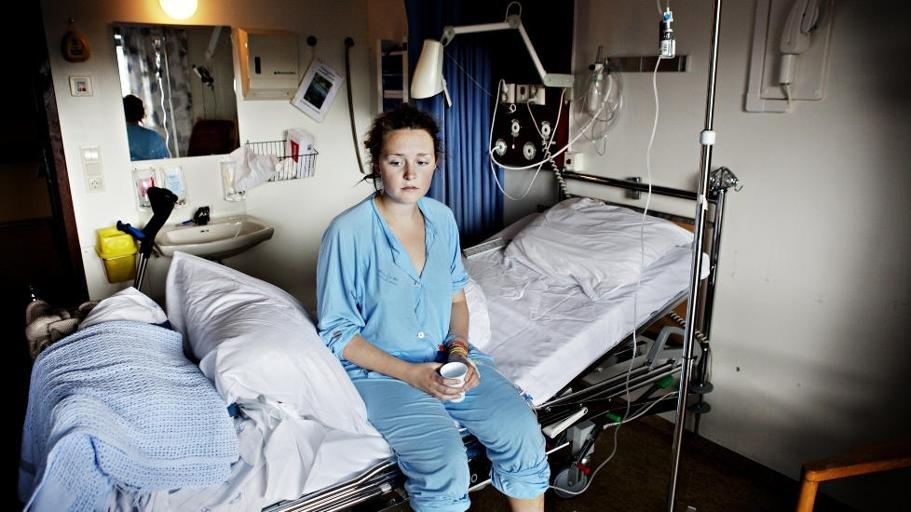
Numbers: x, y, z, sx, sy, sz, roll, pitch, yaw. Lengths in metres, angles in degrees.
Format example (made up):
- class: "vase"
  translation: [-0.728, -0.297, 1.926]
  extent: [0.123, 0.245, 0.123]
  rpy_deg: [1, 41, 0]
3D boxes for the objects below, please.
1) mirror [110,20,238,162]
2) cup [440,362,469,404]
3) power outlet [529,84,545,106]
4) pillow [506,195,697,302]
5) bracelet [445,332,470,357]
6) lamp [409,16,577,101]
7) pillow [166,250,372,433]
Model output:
- class: "mirror"
  translation: [-2.018, -1.191, 4.187]
  extent: [1.022, 1.173, 0.049]
  rpy_deg: [-7, 15, -27]
- class: "cup"
  translation: [-0.033, 0.598, 2.928]
  extent: [0.173, 0.176, 0.168]
  rpy_deg: [-7, 20, 3]
- class: "power outlet"
  translation: [0.590, -1.172, 4.318]
  extent: [0.146, 0.130, 0.047]
  rpy_deg: [9, 8, 40]
- class: "pillow"
  translation: [0.939, -0.094, 3.966]
  extent: [0.797, 0.210, 0.828]
  rpy_deg: [-33, 37, -25]
- class: "bracelet"
  translation: [0.010, 0.458, 3.073]
  extent: [0.113, 0.087, 0.103]
  rpy_deg: [2, 46, -12]
- class: "lamp"
  translation: [0.241, -1.239, 3.727]
  extent: [1.041, 0.496, 0.247]
  rpy_deg: [-1, 24, -3]
- class: "pillow"
  translation: [-0.994, 0.460, 2.957]
  extent: [1.105, 0.721, 0.533]
  rpy_deg: [14, 21, 40]
